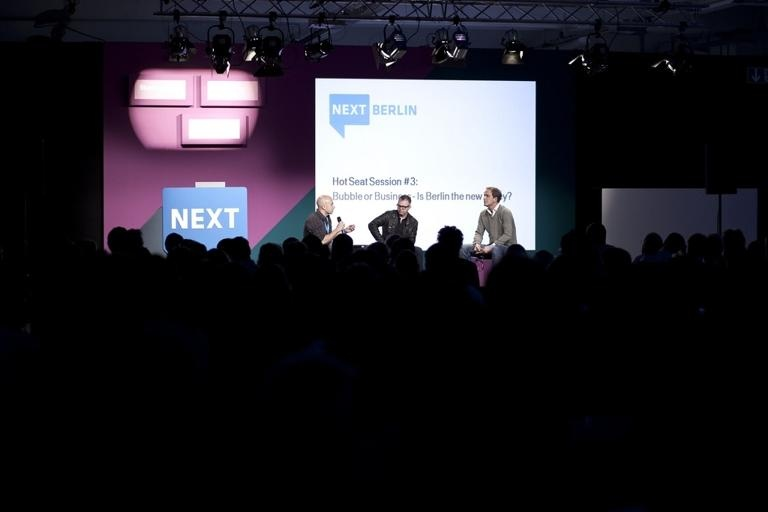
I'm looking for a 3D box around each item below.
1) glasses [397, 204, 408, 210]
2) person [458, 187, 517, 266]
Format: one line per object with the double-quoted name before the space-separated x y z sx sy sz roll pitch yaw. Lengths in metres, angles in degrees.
"glasses" 0.285 -0.730 10.519 0.157 0.074 0.098 1 8 -1
"person" 1.614 -0.339 10.670 0.834 1.377 0.757 -4 7 -26
